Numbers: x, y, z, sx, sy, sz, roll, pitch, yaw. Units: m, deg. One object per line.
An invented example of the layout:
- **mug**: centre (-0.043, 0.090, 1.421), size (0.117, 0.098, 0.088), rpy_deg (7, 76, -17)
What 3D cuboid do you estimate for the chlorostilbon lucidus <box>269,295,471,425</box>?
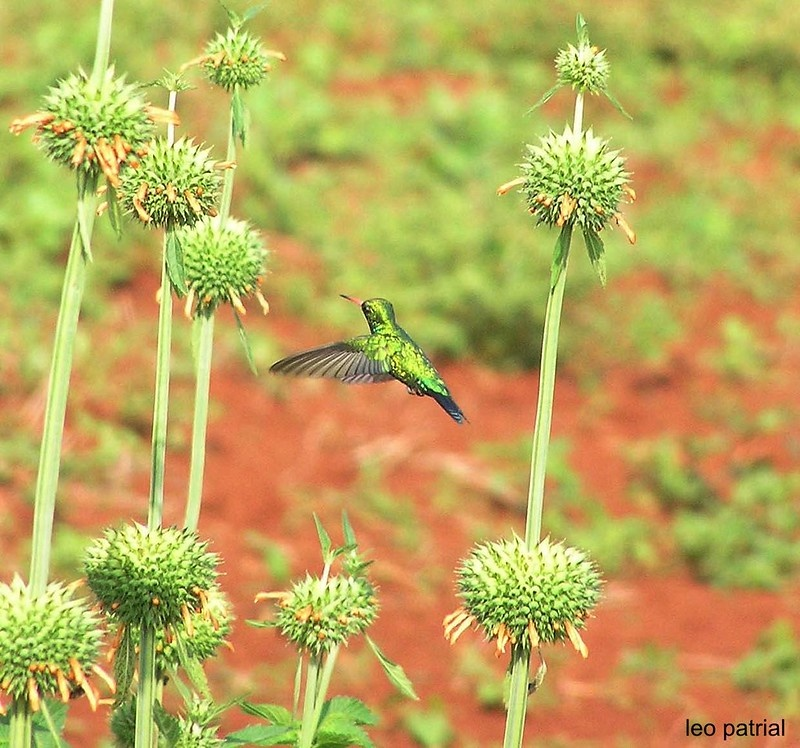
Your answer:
- **chlorostilbon lucidus**: centre (-0.059, -0.031, 5.162), size (0.604, 0.680, 0.278), rpy_deg (25, -82, 18)
